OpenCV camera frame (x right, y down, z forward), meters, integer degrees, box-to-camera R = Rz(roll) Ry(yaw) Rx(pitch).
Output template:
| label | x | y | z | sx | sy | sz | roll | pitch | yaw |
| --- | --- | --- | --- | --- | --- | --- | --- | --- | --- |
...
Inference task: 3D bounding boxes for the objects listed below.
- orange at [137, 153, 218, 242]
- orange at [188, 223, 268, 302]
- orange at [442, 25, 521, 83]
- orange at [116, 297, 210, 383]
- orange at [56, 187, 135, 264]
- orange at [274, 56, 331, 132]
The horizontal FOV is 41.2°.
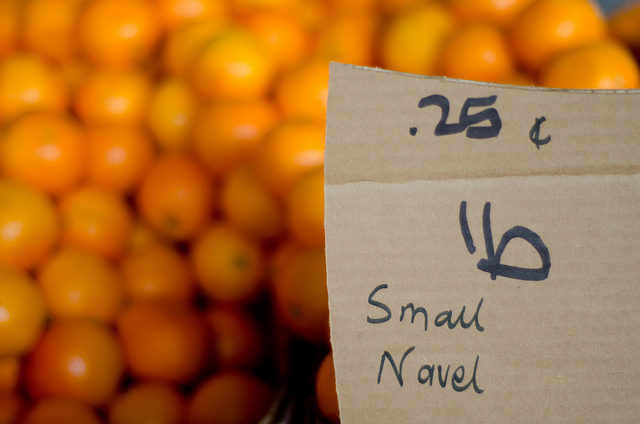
| label | x | y | z | sx | sy | sz | roll | pitch | yaw |
| --- | --- | --- | --- | --- | --- | --- | --- | --- | --- |
| orange | -0.209 | -0.025 | 1.374 | 0.117 | 0.124 | 0.150 | 1 | 73 | 4 |
| orange | -0.137 | 0.078 | 1.292 | 0.096 | 0.067 | 0.122 | -32 | 95 | 19 |
| orange | 0.254 | -0.244 | 1.330 | 0.093 | 0.101 | 0.120 | 2 | 124 | 16 |
| orange | -0.230 | 0.193 | 1.284 | 0.127 | 0.055 | 0.121 | -22 | 66 | 5 |
| orange | -0.331 | 0.013 | 1.311 | 0.104 | 0.111 | 0.111 | 12 | 103 | -12 |
| orange | -0.021 | -0.181 | 1.311 | 0.098 | 0.104 | 0.130 | 3 | 94 | 4 |
